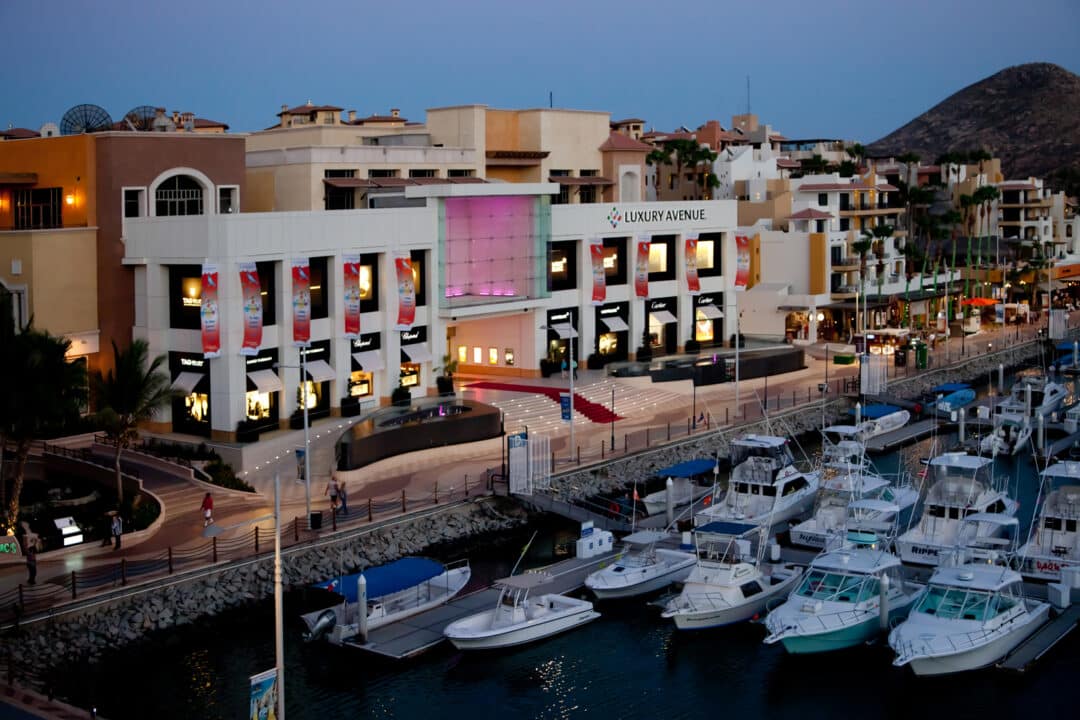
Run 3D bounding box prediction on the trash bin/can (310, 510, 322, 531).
[{"bbox_3d":[-12.751,9.107,67.938,0.679,0.942,1.681,-5,6,-8],"label":"trash bin/can"}]
